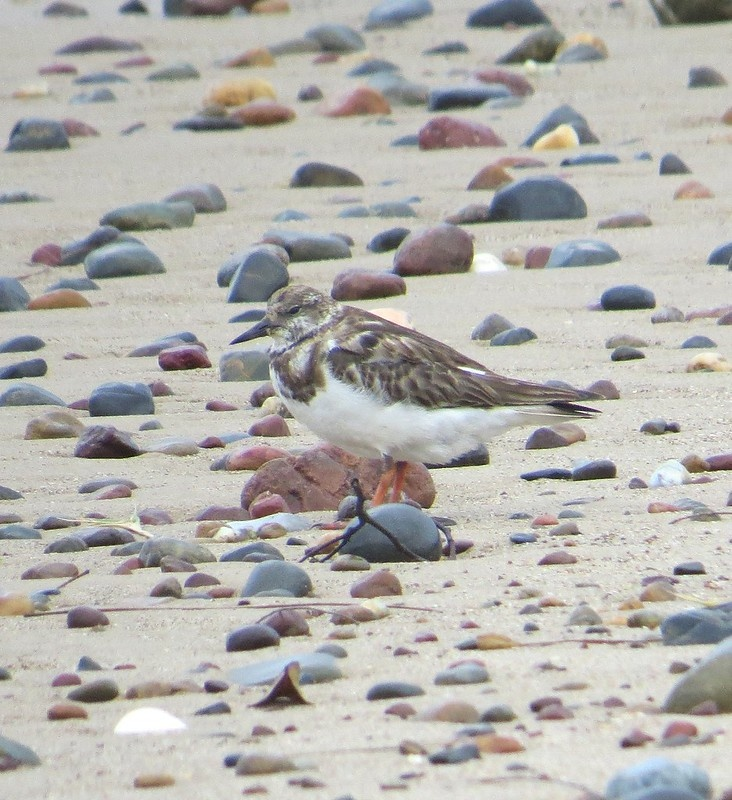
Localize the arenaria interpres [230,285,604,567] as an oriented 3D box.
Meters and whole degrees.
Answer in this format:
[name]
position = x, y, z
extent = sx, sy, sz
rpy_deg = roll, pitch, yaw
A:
[arenaria interpres]
position = 0.206, 0.024, 5.321
extent = 1.223, 0.467, 0.689
rpy_deg = 1, 86, -18
